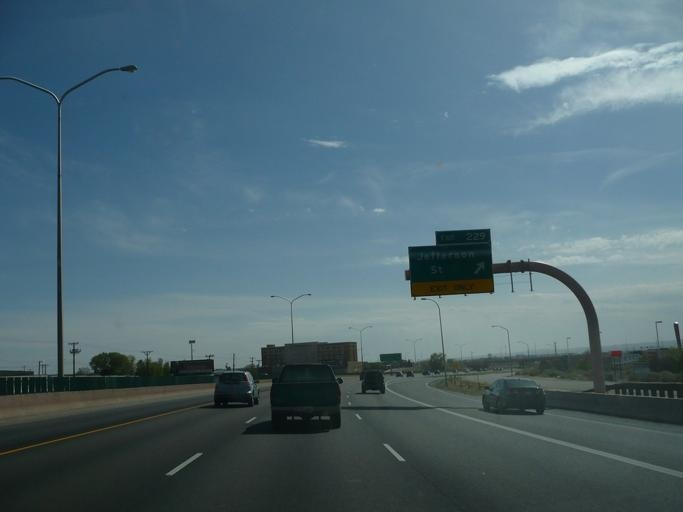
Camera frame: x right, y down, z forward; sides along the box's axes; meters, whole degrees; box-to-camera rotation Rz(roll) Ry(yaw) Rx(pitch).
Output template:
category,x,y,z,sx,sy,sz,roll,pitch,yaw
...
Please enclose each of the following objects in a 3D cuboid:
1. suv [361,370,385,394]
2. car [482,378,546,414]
category,x,y,z,sx,sy,sz,roll,pitch,yaw
suv,2.325,9.407,52.934,1.126,1.167,2.228,1,-2,2
car,7.876,6.332,32.282,1.986,1.686,4.685,2,-9,3
